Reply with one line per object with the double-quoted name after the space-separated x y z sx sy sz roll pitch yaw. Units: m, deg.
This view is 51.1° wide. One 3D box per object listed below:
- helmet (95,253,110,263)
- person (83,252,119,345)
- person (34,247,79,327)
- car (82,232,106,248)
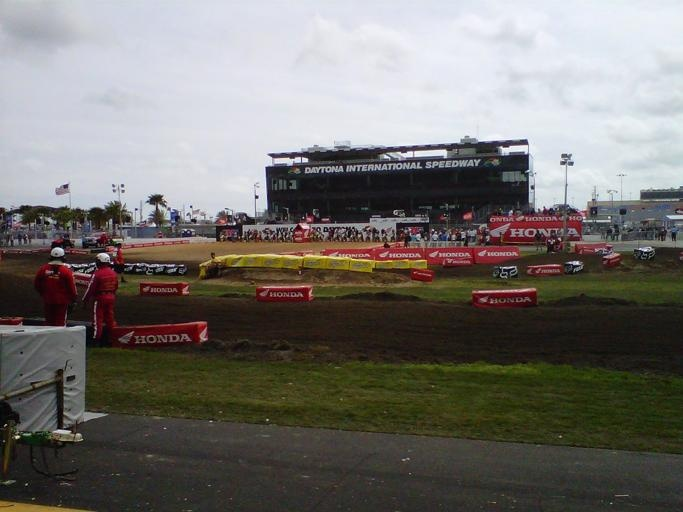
-5.792 0.036 17.259 0.344 0.226 0.263 10 6 39 "helmet"
-5.847 1.107 17.495 0.764 2.374 1.150 -4 12 -19 "person"
-6.320 0.667 15.799 0.798 1.702 0.462 -5 13 -21 "person"
-23.286 -1.524 67.235 1.816 0.834 2.738 -1 9 -9 "car"
